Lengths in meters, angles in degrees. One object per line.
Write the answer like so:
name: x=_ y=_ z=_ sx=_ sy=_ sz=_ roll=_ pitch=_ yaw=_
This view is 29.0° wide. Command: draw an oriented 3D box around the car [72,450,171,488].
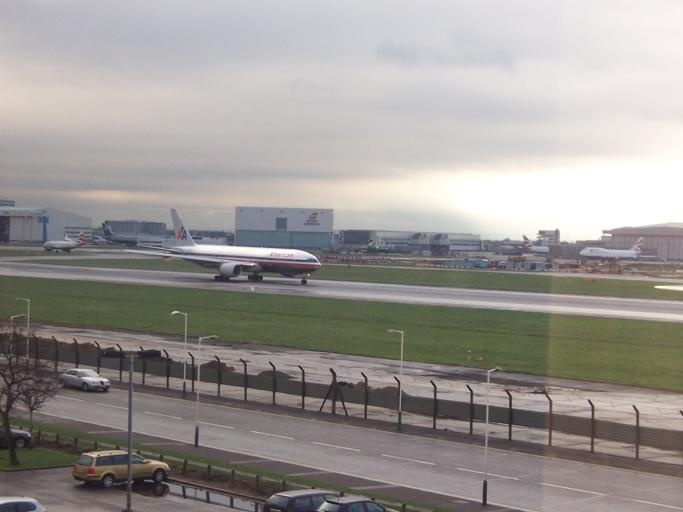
car: x=-16.483 y=15.847 z=97.974 sx=6.461 sy=2.526 sz=1.369 roll=-1 pitch=14 yaw=-12

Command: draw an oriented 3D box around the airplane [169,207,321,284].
airplane: x=-15.742 y=-0.694 z=207.617 sx=32.332 sy=8.202 sz=22.823 roll=5 pitch=3 yaw=41
